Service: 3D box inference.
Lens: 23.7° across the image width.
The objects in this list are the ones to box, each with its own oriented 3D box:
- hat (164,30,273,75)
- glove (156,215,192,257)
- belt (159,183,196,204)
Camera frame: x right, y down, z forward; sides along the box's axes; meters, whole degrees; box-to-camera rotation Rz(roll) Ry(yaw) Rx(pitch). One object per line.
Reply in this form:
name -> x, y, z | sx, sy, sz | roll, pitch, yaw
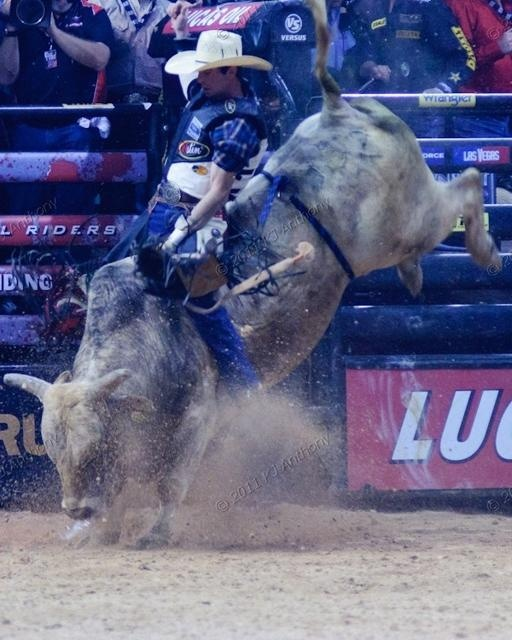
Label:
hat -> -0.227, -1.405, 6.489 | 0.432, 0.323, 0.140 | 0, 95, -6
glove -> -0.405, -0.445, 6.498 | 0.207, 0.085, 0.123 | -45, 52, -2
belt -> -0.434, -0.683, 6.632 | 0.124, 0.155, 0.059 | 30, 91, -10
